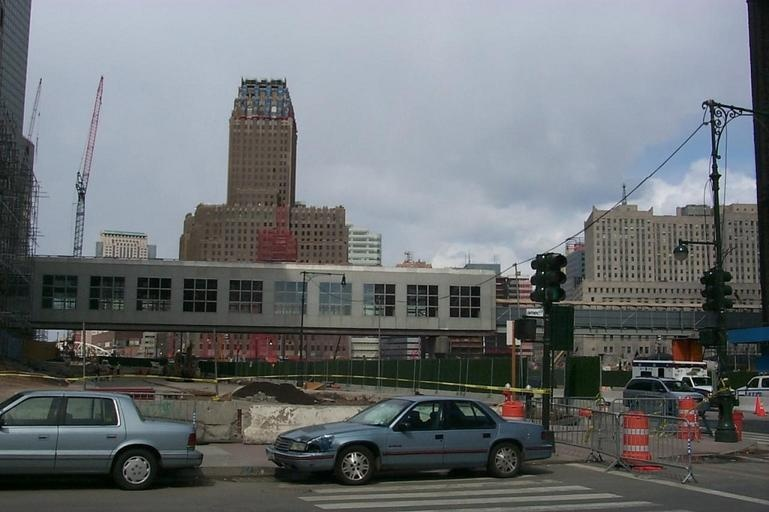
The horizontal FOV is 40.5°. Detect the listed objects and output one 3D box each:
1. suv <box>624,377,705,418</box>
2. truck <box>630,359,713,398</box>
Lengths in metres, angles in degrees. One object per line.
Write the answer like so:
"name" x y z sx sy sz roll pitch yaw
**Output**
"suv" 14.397 7.182 55.193 6.250 2.473 2.933 -6 -9 35
"truck" 19.041 8.276 67.266 5.818 2.810 2.248 -3 -5 38
